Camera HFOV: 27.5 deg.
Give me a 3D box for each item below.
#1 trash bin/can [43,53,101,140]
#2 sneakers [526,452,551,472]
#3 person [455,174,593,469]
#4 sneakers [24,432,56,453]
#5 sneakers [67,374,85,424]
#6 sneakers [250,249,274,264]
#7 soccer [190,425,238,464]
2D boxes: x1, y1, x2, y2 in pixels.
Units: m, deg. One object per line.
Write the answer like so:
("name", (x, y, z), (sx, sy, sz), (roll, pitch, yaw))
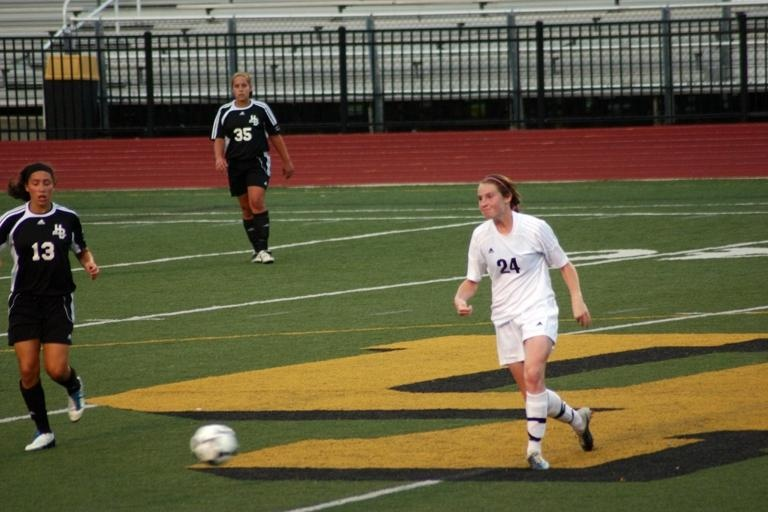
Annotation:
("trash bin/can", (-7.633, -3.945, 38.929), (1.459, 2.153, 1.936), (-9, 10, -39))
("sneakers", (1.955, 2.620, 19.913), (0.208, 0.125, 0.293), (-4, -19, 24))
("person", (1.861, 0.818, 20.326), (1.111, 3.699, 1.535), (-10, 11, -42))
("sneakers", (-4.438, 2.444, 20.616), (0.415, 0.139, 0.200), (-3, -8, 9))
("sneakers", (-4.017, 1.941, 21.090), (0.249, 0.556, 0.256), (1, 4, 4))
("sneakers", (-2.032, 0.032, 27.153), (0.201, 0.139, 0.371), (-2, 4, -28))
("soccer", (-2.090, 2.378, 19.979), (0.587, 0.351, 0.553), (3, 5, 31))
